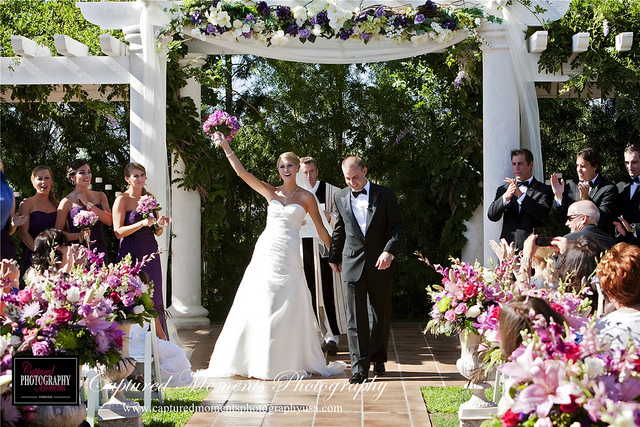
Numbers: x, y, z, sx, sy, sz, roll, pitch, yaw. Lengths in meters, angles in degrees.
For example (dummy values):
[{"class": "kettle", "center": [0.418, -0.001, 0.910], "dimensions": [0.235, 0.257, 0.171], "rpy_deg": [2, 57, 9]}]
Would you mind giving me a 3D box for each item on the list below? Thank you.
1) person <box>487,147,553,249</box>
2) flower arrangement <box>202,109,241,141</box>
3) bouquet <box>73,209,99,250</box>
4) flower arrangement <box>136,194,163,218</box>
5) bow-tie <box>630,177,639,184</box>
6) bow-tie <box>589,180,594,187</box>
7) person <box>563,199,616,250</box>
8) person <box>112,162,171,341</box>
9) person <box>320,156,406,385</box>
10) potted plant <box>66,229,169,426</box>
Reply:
[{"class": "person", "center": [2.216, -0.188, 7.036], "dimensions": [0.666, 1.097, 0.749], "rpy_deg": [0, 6, -13]}, {"class": "flower arrangement", "center": [-1.023, -0.926, 6.614], "dimensions": [0.316, 0.356, 0.336], "rpy_deg": [-5, -17, 19]}, {"class": "bouquet", "center": [-2.523, 0.175, 6.840], "dimensions": [0.246, 0.427, 0.275], "rpy_deg": [4, 19, 9]}, {"class": "flower arrangement", "center": [-1.801, -0.082, 6.676], "dimensions": [0.214, 0.242, 0.223], "rpy_deg": [-9, 26, -8]}, {"class": "bow-tie", "center": [3.438, -0.365, 6.939], "dimensions": [0.023, 0.073, 0.098], "rpy_deg": [-3, 8, -40]}, {"class": "bow-tie", "center": [2.924, -0.322, 6.826], "dimensions": [0.047, 0.061, 0.014], "rpy_deg": [5, 6, 29]}, {"class": "person", "center": [2.356, 0.101, 5.546], "dimensions": [0.388, 0.468, 0.720], "rpy_deg": [-2, 5, 34]}, {"class": "person", "center": [-1.963, 0.450, 6.959], "dimensions": [0.617, 2.009, 0.590], "rpy_deg": [-12, 27, -36]}, {"class": "person", "center": [0.461, 0.566, 6.497], "dimensions": [0.748, 2.271, 0.575], "rpy_deg": [2, 6, 0]}, {"class": "potted plant", "center": [-1.719, 0.956, 5.396], "dimensions": [0.745, 1.434, 2.110], "rpy_deg": [0, 6, -14]}]
